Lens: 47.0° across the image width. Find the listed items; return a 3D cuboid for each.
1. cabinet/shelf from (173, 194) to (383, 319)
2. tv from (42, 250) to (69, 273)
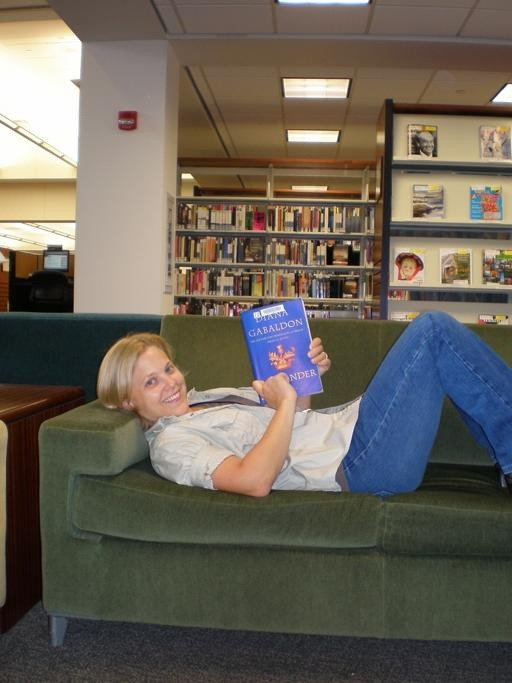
[{"bbox_3d":[0.176,-0.772,5.208,1.306,1.193,0.415,0,-2,-2],"label":"cabinet/shelf"},{"bbox_3d":[-2.359,-0.951,6.948,0.288,0.256,0.257,0,0,-20],"label":"tv"}]
